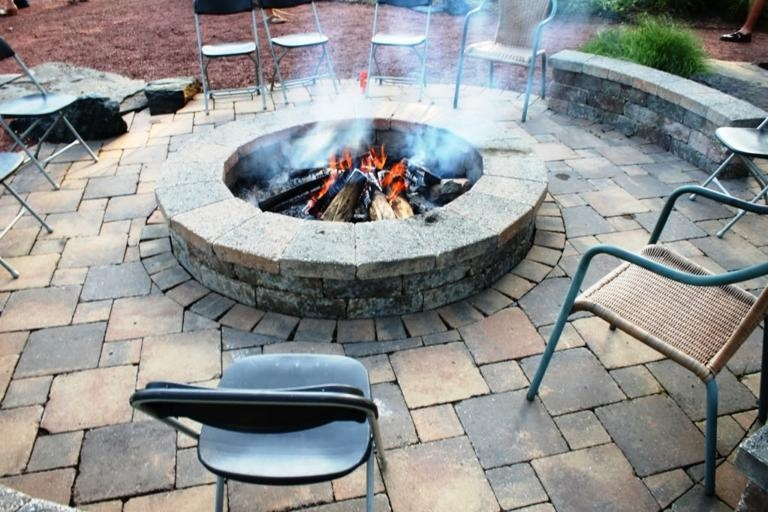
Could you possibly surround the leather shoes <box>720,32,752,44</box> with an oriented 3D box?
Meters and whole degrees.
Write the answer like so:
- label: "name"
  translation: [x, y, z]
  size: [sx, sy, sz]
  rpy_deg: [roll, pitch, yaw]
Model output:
- label: "leather shoes"
  translation: [6.148, -3.823, 9.059]
  size: [0.554, 0.237, 0.221]
  rpy_deg: [13, 28, 23]
